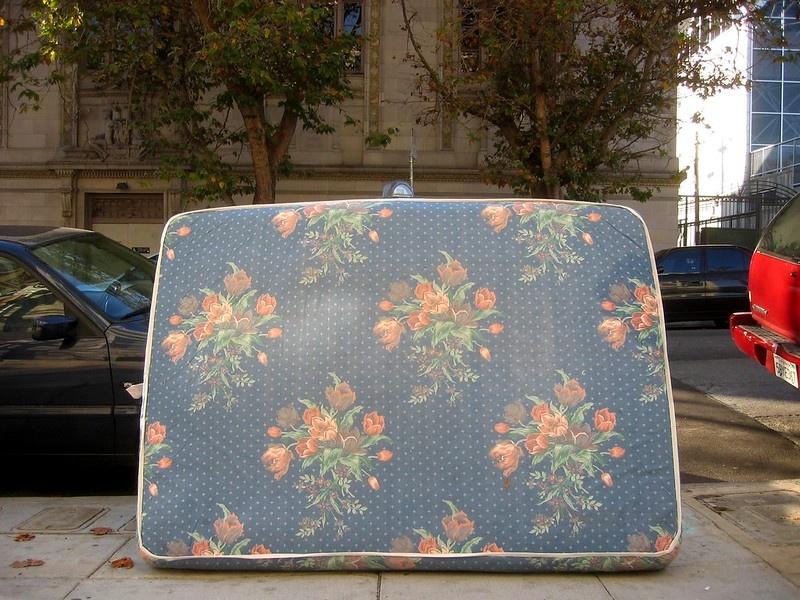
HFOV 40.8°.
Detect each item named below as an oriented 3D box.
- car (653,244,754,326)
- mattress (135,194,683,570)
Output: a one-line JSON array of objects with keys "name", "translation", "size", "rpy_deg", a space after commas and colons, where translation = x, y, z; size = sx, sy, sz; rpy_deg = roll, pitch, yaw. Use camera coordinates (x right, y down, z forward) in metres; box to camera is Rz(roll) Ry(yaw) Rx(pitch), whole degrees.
[{"name": "car", "translation": [5.505, -0.334, 19.915], "size": [2.736, 1.419, 1.502], "rpy_deg": [1, -4, 3]}, {"name": "mattress", "translation": [0.095, 0.696, 7.930], "size": [3.151, 2.356, 0.741], "rpy_deg": [0, -9, 0]}]
